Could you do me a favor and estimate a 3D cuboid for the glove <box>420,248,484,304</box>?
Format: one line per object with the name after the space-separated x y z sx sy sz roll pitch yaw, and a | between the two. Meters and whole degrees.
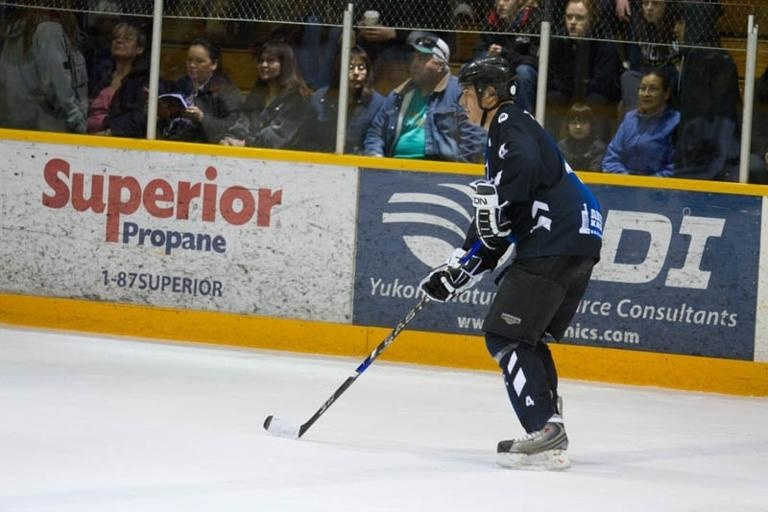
0.400 0.122 6.203 0.412 0.268 0.156 -32 -1 -6 | glove

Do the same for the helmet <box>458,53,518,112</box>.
0.642 -1.085 6.223 0.366 0.276 0.270 -2 27 -5 | helmet

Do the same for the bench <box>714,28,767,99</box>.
2.668 -1.430 7.626 0.617 0.373 0.144 2 -4 3 | bench

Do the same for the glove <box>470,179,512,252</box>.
0.618 -0.245 6.030 0.157 0.366 0.279 -9 21 -9 | glove

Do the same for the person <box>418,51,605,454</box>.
0.767 0.109 5.943 0.900 1.953 0.647 6 10 10 | person

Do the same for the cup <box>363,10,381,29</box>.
-0.085 -1.790 7.745 0.132 0.077 0.124 -1 29 1 | cup

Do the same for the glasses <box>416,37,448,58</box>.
0.377 -1.563 7.682 0.206 0.105 0.144 22 5 -14 | glasses
